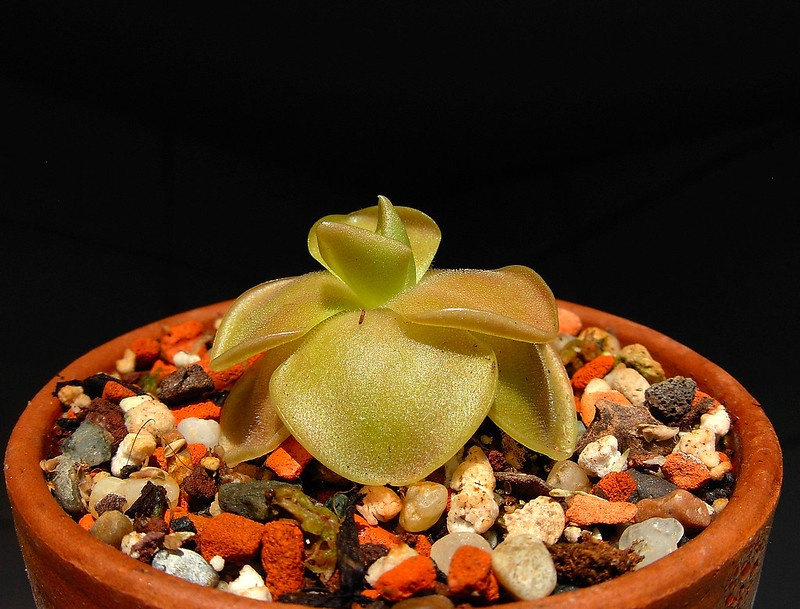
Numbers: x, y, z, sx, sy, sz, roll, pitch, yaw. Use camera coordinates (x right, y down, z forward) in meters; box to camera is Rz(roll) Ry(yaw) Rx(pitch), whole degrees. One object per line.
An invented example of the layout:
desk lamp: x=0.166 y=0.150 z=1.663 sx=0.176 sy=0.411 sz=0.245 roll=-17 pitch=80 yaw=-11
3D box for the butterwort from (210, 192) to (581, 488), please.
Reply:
butterwort: x=-0.015 y=0.130 z=1.885 sx=0.662 sy=0.369 sz=0.719 roll=-1 pitch=35 yaw=0
